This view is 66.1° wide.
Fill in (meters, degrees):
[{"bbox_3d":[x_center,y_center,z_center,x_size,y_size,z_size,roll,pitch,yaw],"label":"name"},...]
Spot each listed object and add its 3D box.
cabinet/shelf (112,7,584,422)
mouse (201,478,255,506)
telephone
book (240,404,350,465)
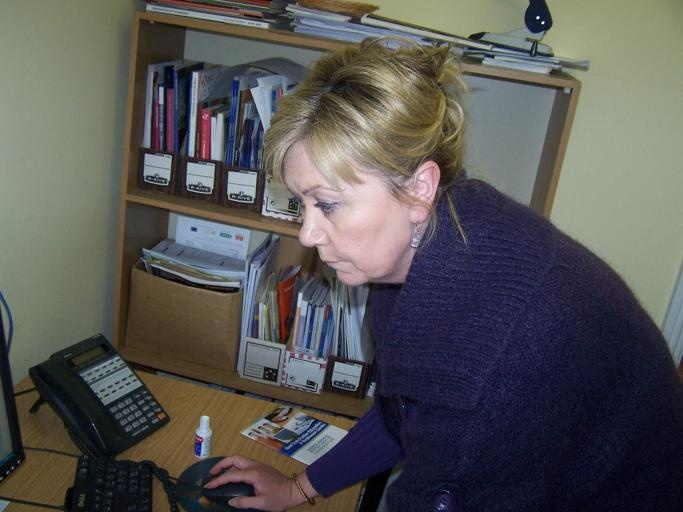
[{"bbox_3d":[-0.049,-0.121,1.981,1.462,1.311,0.510,12,19,7],"label":"cabinet/shelf"},{"bbox_3d":[-0.287,0.593,1.322,0.098,0.023,0.061,1,21,-13],"label":"mouse"},{"bbox_3d":[-0.672,0.370,1.432,0.352,0.149,0.272,44,40,9],"label":"telephone"},{"bbox_3d":[-0.134,0.523,1.544,0.184,0.014,0.135,20,25,30],"label":"book"}]
